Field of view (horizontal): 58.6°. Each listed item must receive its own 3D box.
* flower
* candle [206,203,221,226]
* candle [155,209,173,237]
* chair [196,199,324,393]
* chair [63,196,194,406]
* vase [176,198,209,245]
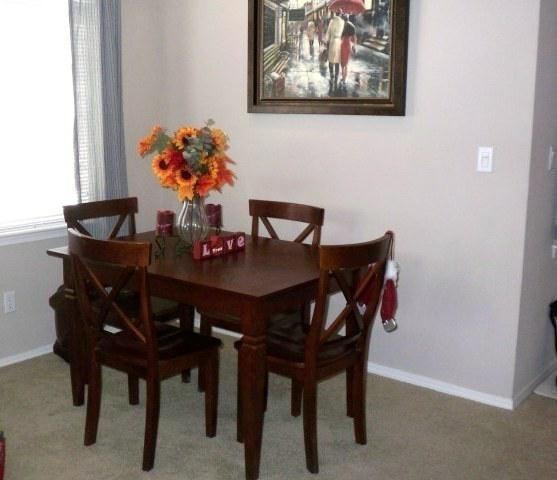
[{"bbox_3d":[-0.458,-0.387,2.444,0.451,0.398,0.250,-3,10,-16],"label":"flower"},{"bbox_3d":[-0.350,-0.143,2.734,0.085,0.130,0.098,3,9,15],"label":"candle"},{"bbox_3d":[-0.610,-0.094,2.656,0.094,0.141,0.107,8,7,21],"label":"candle"},{"bbox_3d":[-0.244,0.205,3.017,0.652,1.372,0.712,7,11,37],"label":"chair"},{"bbox_3d":[-0.644,0.450,2.304,0.502,1.093,0.563,7,13,23],"label":"chair"},{"bbox_3d":[-0.453,-0.098,2.578,0.137,0.262,0.160,-1,-8,-7],"label":"vase"}]
